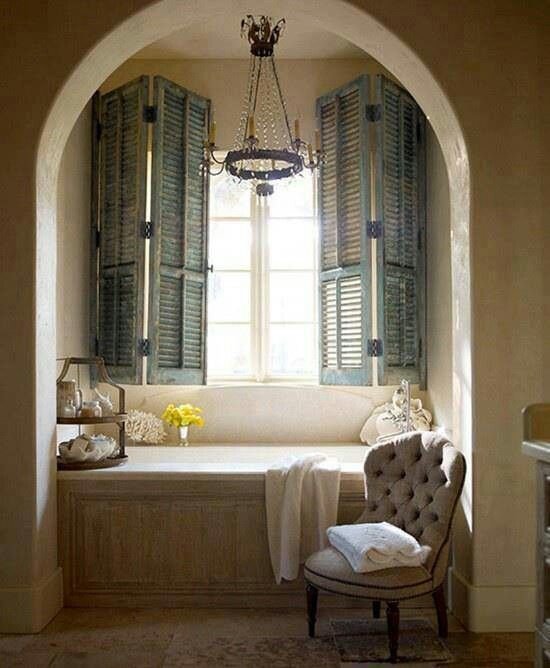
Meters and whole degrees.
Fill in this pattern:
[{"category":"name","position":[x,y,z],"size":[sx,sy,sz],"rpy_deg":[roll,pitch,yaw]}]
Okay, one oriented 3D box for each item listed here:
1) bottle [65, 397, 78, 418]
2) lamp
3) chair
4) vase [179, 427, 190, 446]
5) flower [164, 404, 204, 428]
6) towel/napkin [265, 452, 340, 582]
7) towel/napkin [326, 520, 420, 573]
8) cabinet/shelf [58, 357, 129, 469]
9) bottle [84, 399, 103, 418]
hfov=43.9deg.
[{"category":"bottle","position":[-0.940,0.342,3.140],"size":[0.051,0.128,0.057],"rpy_deg":[-5,-6,38]},{"category":"lamp","position":[-0.067,-1.096,3.419],"size":[0.456,0.959,0.538],"rpy_deg":[-3,-10,23]},{"category":"chair","position":[0.367,0.785,2.833],"size":[0.626,1.099,0.610],"rpy_deg":[8,-11,-37]},{"category":"vase","position":[-0.550,0.610,4.075],"size":[0.067,0.154,0.081],"rpy_deg":[1,-7,-13]},{"category":"flower","position":[-0.543,0.485,4.078],"size":[0.154,0.083,0.158],"rpy_deg":[5,-2,44]},{"category":"towel/napkin","position":[0.111,0.752,2.952],"size":[0.270,0.535,0.133],"rpy_deg":[1,-7,7]},{"category":"towel/napkin","position":[0.372,0.780,2.527],"size":[0.382,0.081,0.276],"rpy_deg":[-3,2,10]},{"category":"cabinet/shelf","position":[-0.872,0.365,3.221],"size":[0.330,0.511,0.349],"rpy_deg":[-4,-1,41]},{"category":"bottle","position":[-0.842,0.340,3.141],"size":[0.062,0.069,0.063],"rpy_deg":[8,-10,-41]}]
